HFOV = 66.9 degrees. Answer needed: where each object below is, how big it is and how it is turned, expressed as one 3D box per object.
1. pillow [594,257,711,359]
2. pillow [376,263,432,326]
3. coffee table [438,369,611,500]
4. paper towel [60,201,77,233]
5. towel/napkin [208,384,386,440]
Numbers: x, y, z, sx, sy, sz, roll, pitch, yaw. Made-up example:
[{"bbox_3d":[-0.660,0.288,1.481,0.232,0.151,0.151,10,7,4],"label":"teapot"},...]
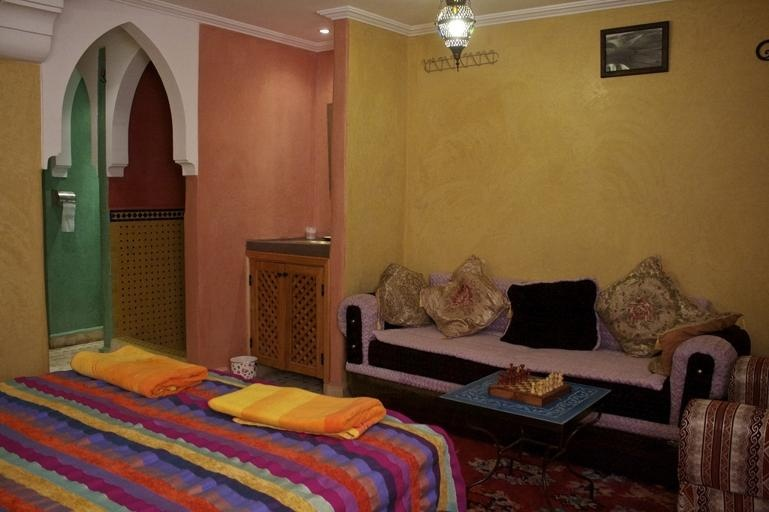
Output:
[{"bbox_3d":[2.235,0.457,4.816,0.295,0.770,0.781,19,31,-52],"label":"pillow"},{"bbox_3d":[0.158,0.362,5.367,0.528,0.512,0.480,-1,-8,9],"label":"pillow"},{"bbox_3d":[0.915,1.281,4.086,0.927,1.058,0.996,3,3,45],"label":"coffee table"},{"bbox_3d":[-3.525,-0.441,6.480,0.134,0.325,0.159,-5,9,-32],"label":"paper towel"},{"bbox_3d":[-0.506,0.878,3.284,0.635,0.094,0.395,2,5,25],"label":"towel/napkin"}]
